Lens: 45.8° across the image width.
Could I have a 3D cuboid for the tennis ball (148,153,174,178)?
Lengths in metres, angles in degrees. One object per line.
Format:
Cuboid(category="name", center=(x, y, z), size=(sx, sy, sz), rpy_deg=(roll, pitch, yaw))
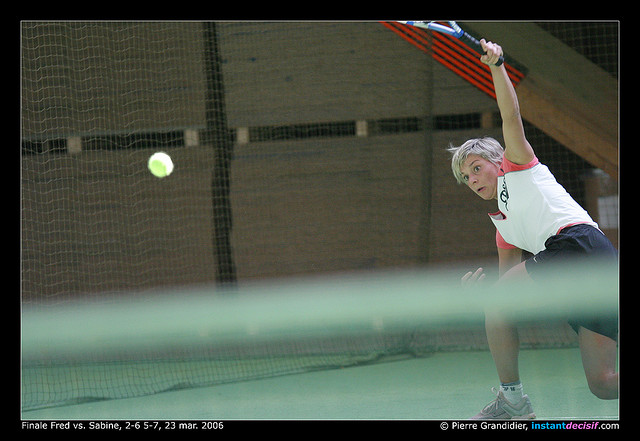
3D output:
Cuboid(category="tennis ball", center=(-1.209, -0.415, 5.781), size=(0.191, 0.160, 0.158), rpy_deg=(-4, -32, -6))
